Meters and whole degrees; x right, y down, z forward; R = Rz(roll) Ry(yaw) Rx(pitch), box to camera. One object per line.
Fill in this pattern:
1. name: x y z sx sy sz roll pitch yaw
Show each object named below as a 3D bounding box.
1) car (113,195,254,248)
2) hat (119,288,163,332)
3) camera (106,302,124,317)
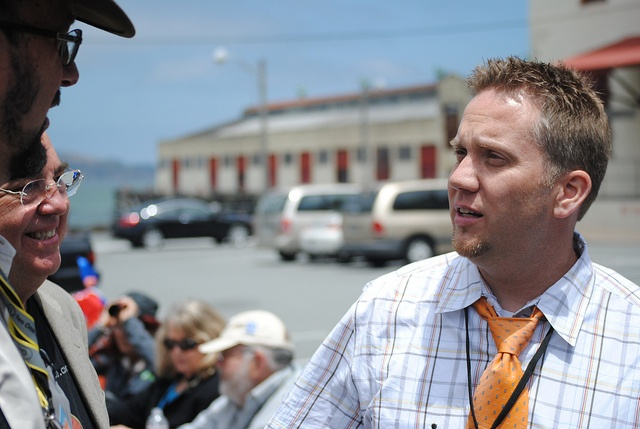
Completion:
1. car: -2.237 0.257 25.945 2.553 0.765 1.110 -2 2 -6
2. hat: -1.872 0.953 15.352 0.295 0.444 0.484 11 -3 -4
3. camera: -2.049 0.941 15.170 0.209 0.161 0.078 -12 -29 42
